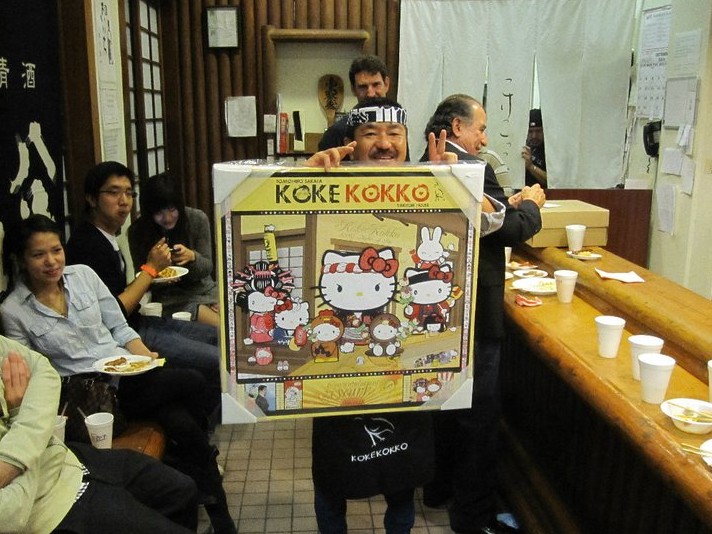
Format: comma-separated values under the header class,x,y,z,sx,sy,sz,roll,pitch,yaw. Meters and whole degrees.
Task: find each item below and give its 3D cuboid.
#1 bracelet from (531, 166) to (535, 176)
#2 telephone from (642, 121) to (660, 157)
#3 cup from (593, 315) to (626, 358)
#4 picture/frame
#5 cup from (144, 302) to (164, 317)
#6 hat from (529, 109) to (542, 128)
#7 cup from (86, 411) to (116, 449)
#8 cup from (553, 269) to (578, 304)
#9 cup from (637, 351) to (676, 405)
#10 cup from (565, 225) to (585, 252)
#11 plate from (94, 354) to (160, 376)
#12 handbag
class,x,y,z,sx,sy,sz,roll,pitch,yaw
bracelet,1.910,-1.021,6.453,0.018,0.080,0.053,1,1,33
telephone,2.952,-1.256,5.983,0.103,0.340,0.344,0,8,5
cup,1.136,0.298,2.745,0.163,0.185,0.158,0,4,0
picture/frame,-0.028,0.077,2.055,0.898,0.902,0.123,-1,10,-7
cup,-1.352,0.278,4.046,0.117,0.091,0.094,-9,11,-37
hat,1.903,-1.535,6.335,0.151,0.183,0.158,4,15,26
cup,-1.213,0.794,2.896,0.133,0.151,0.127,-3,6,0
cup,1.166,0.117,3.381,0.150,0.172,0.155,0,2,0
cup,1.140,0.409,2.337,0.164,0.197,0.172,1,6,0
cup,1.475,-0.191,4.096,0.158,0.186,0.163,0,5,0
plate,-1.163,0.494,3.078,0.160,0.025,0.164,18,18,42
handbag,-1.355,0.679,2.996,0.292,0.307,0.170,4,2,7
